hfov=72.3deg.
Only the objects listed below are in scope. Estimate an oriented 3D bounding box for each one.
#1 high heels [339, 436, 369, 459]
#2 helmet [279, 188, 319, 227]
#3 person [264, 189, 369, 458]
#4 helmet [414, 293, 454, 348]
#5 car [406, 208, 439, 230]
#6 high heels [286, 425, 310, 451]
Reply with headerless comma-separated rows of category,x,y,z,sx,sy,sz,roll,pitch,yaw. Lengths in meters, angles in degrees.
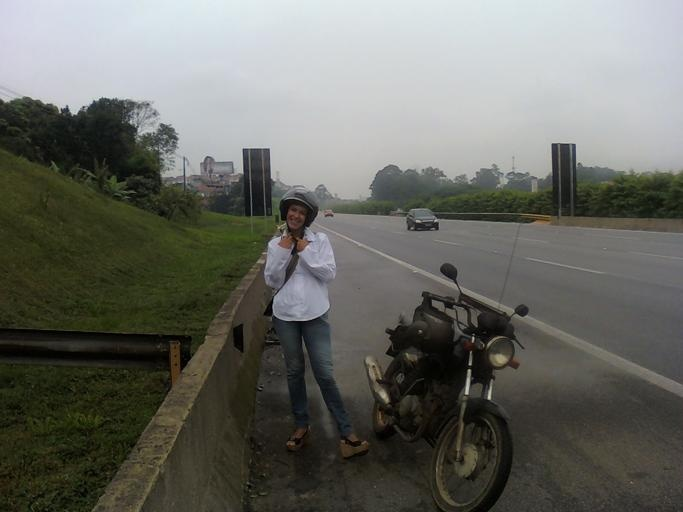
high heels,0.116,1.708,4.204,0.237,0.197,0.138,-5,1,-2
helmet,-0.352,-0.451,4.310,0.376,0.392,0.437,-3,9,-29
person,-0.270,0.581,4.319,0.878,2.398,0.548,1,7,3
helmet,0.781,0.551,3.942,0.347,0.573,0.388,2,-8,-12
car,5.558,-2.615,33.098,1.107,1.052,2.575,-2,2,-6
high heels,-0.402,1.716,4.368,0.094,0.141,0.323,-4,-14,14
